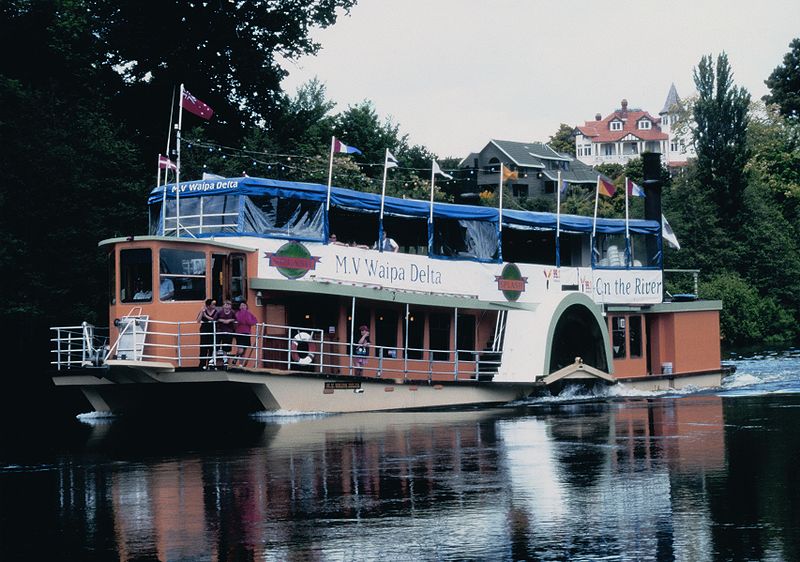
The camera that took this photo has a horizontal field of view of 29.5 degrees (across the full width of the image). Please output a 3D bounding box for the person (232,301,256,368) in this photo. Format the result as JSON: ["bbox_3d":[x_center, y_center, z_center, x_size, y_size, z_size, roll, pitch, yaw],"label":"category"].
[{"bbox_3d":[-4.482,1.558,44.215,0.621,1.918,1.217,1,0,-6],"label":"person"}]

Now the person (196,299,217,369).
[{"bbox_3d":[-5.562,1.524,43.882,0.515,2.009,1.075,1,0,-9],"label":"person"}]
